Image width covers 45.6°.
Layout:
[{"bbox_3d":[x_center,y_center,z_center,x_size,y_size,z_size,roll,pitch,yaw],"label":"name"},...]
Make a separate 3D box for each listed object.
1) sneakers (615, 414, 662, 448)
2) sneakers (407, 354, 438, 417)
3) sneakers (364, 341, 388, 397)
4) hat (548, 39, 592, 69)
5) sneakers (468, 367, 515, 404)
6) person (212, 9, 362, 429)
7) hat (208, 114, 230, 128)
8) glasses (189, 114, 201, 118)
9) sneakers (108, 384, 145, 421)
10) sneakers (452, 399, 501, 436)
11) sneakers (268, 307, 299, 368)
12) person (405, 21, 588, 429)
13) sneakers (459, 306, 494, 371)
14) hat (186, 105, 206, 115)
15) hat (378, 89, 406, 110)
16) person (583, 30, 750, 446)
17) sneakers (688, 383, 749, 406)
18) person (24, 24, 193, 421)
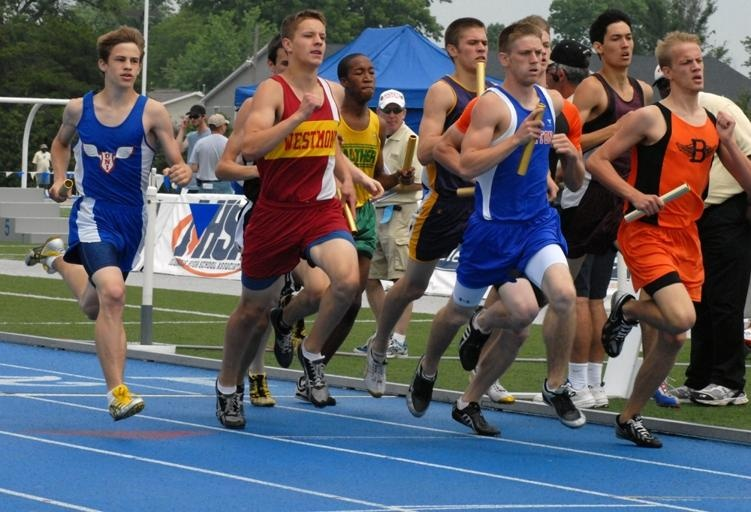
[{"bbox_3d":[1.732,1.119,5.793,0.387,0.161,0.134,12,19,43],"label":"sneakers"},{"bbox_3d":[0.303,0.911,6.252,0.172,0.425,0.198,10,9,-14],"label":"sneakers"},{"bbox_3d":[0.009,0.847,6.764,0.154,0.467,0.200,6,4,0],"label":"sneakers"},{"bbox_3d":[1.570,-1.623,7.198,0.309,0.168,0.235,35,38,31],"label":"hat"},{"bbox_3d":[0.897,0.997,6.930,0.196,0.216,0.540,-4,5,-30],"label":"sneakers"},{"bbox_3d":[-0.521,-0.226,5.967,0.853,2.833,0.989,5,4,-9],"label":"person"},{"bbox_3d":[-2.385,-2.061,13.648,0.239,0.163,0.331,14,16,29],"label":"hat"},{"bbox_3d":[-2.863,-2.225,14.232,0.121,0.105,0.032,-14,29,7],"label":"glasses"},{"bbox_3d":[-1.590,0.920,5.713,0.151,0.194,0.368,-27,8,-35],"label":"sneakers"},{"bbox_3d":[0.645,1.078,6.041,0.146,0.152,0.403,-4,16,-45],"label":"sneakers"},{"bbox_3d":[-0.679,0.618,6.816,0.189,0.441,0.201,-19,18,-40],"label":"sneakers"},{"bbox_3d":[0.904,-0.132,5.761,1.009,2.690,0.986,5,5,-15],"label":"person"},{"bbox_3d":[0.712,0.599,6.218,0.192,0.452,0.209,12,20,-28],"label":"sneakers"},{"bbox_3d":[-2.810,-2.356,14.250,0.219,0.145,0.289,2,-3,27],"label":"hat"},{"bbox_3d":[0.164,-1.528,8.641,0.249,0.166,0.355,-1,-4,0],"label":"hat"},{"bbox_3d":[1.873,-0.128,5.878,0.764,1.792,0.779,10,6,41],"label":"person"},{"bbox_3d":[2.689,1.093,7.033,0.444,0.173,0.161,3,-4,-9],"label":"sneakers"},{"bbox_3d":[-1.714,-0.283,6.038,0.651,2.544,1.349,3,5,-37],"label":"person"}]
